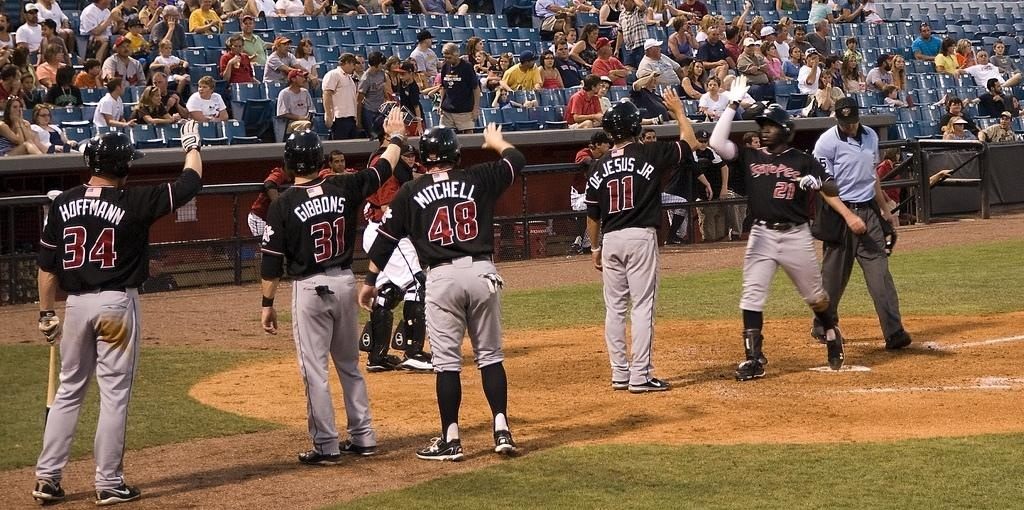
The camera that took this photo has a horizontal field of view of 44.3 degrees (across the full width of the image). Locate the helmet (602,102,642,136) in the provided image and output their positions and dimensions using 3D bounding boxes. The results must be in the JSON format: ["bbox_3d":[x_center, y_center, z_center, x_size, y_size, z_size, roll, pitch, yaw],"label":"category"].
[{"bbox_3d":[1.783,-2.273,21.035,0.510,0.498,0.696,8,27,45],"label":"helmet"}]

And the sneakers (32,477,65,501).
[{"bbox_3d":[-6.956,3.530,18.990,0.257,0.222,0.539,3,1,-3],"label":"sneakers"}]

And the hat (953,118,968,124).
[{"bbox_3d":[11.582,-3.491,32.470,0.414,0.136,0.253,-6,7,-33],"label":"hat"}]

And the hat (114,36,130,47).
[{"bbox_3d":[-8.601,-4.762,27.875,0.317,0.252,0.508,-4,6,-14],"label":"hat"}]

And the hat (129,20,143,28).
[{"bbox_3d":[-8.642,-5.358,28.893,0.334,0.186,0.297,-3,6,-12],"label":"hat"}]

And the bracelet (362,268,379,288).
[{"bbox_3d":[-2.221,0.356,20.065,0.335,0.350,0.243,10,-2,1],"label":"bracelet"}]

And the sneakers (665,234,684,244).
[{"bbox_3d":[3.825,-0.367,29.653,0.477,0.157,0.146,-1,6,-7],"label":"sneakers"}]

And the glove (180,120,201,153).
[{"bbox_3d":[-4.946,-1.838,19.517,0.473,0.529,0.195,1,2,-2],"label":"glove"}]

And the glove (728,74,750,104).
[{"bbox_3d":[3.829,-2.808,21.268,0.532,0.493,0.180,2,-7,7],"label":"glove"}]

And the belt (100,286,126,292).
[{"bbox_3d":[-6.008,0.488,18.968,0.376,0.074,0.035,-2,6,-5],"label":"belt"}]

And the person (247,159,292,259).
[{"bbox_3d":[-4.336,-0.783,22.553,0.761,1.272,1.855,5,-39,-11],"label":"person"}]

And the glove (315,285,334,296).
[{"bbox_3d":[-2.893,0.526,19.410,0.251,0.158,0.052,-4,6,-16],"label":"glove"}]

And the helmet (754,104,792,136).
[{"bbox_3d":[4.459,-2.342,21.326,0.683,0.313,0.429,24,1,-17],"label":"helmet"}]

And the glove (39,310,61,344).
[{"bbox_3d":[-7.105,1.097,19.228,0.252,0.467,0.408,-19,-17,14],"label":"glove"}]

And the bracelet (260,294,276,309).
[{"bbox_3d":[-3.804,0.724,19.695,0.247,0.165,0.237,5,8,26],"label":"bracelet"}]

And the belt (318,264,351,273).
[{"bbox_3d":[-2.719,0.181,19.516,0.460,0.116,0.079,-4,6,-19],"label":"belt"}]

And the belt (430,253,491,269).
[{"bbox_3d":[-0.791,0.082,19.451,0.933,0.183,0.151,-3,6,-9],"label":"belt"}]
